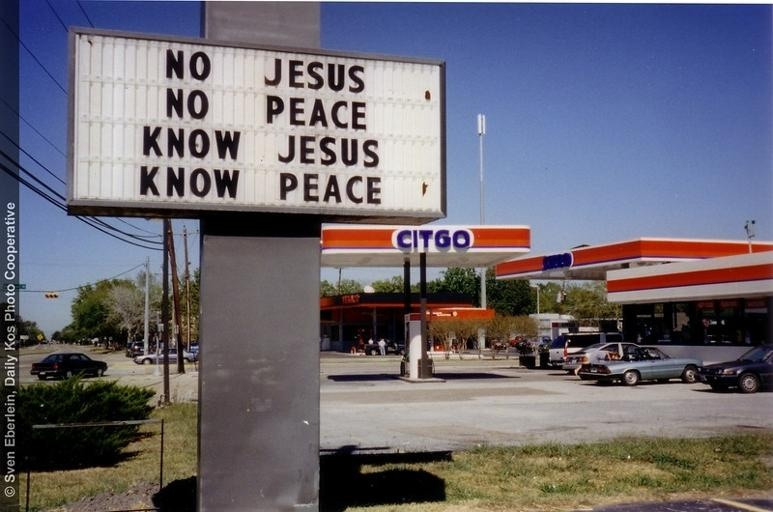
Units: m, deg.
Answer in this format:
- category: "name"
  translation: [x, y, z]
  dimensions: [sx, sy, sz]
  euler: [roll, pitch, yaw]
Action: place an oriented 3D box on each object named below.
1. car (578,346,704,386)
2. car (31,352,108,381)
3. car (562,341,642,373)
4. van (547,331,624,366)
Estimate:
- category: "car"
  translation: [11.179, 4.800, 34.907]
  dimensions: [4.645, 1.716, 1.900]
  euler: [0, -10, -8]
- category: "car"
  translation: [-17.376, 5.967, 43.511]
  dimensions: [2.084, 1.593, 3.638]
  euler: [-10, -14, 39]
- category: "car"
  translation: [9.736, 4.776, 35.587]
  dimensions: [3.017, 1.076, 1.466]
  euler: [-8, 1, -21]
- category: "van"
  translation: [11.155, 5.171, 43.701]
  dimensions: [3.570, 1.473, 1.866]
  euler: [-6, 1, -20]
